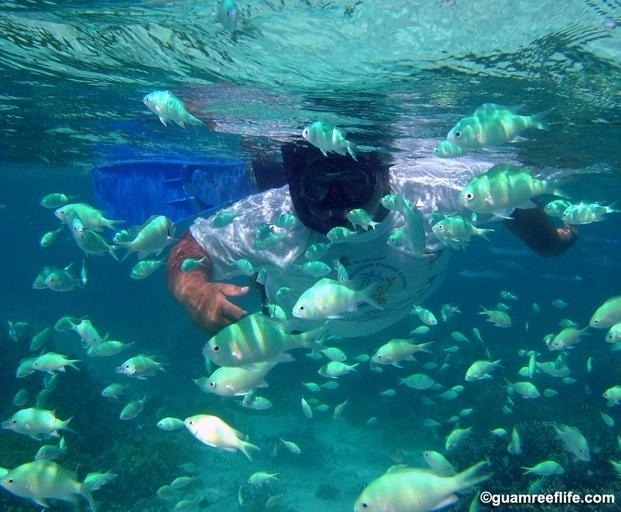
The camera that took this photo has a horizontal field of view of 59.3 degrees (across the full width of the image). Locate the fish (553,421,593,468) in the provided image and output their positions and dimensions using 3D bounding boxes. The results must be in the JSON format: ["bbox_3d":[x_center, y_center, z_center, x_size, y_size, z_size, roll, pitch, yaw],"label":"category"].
[{"bbox_3d":[5.841,4.163,12.014,0.397,0.829,0.805,-20,13,-4],"label":"fish"}]

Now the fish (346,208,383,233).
[{"bbox_3d":[0.950,-0.645,9.893,0.518,0.448,0.269,-12,14,5],"label":"fish"}]

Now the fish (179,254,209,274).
[{"bbox_3d":[-2.105,0.136,9.672,0.631,0.141,0.295,-9,36,-34],"label":"fish"}]

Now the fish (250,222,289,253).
[{"bbox_3d":[-0.783,-0.344,10.076,0.728,0.497,0.142,-18,12,-26],"label":"fish"}]

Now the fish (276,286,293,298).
[{"bbox_3d":[-0.505,0.693,10.427,0.239,0.220,0.087,-39,40,27],"label":"fish"}]

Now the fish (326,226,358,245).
[{"bbox_3d":[0.592,-0.382,9.968,0.519,0.348,0.277,-11,13,7],"label":"fish"}]

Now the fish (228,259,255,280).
[{"bbox_3d":[-1.271,0.222,10.251,0.426,0.431,0.480,-16,12,-7],"label":"fish"}]

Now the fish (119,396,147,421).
[{"bbox_3d":[-4.408,3.881,13.695,0.531,0.325,0.695,-11,10,0],"label":"fish"}]

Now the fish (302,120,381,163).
[{"bbox_3d":[0.388,-1.924,9.074,0.487,0.534,1.536,-21,33,-30],"label":"fish"}]

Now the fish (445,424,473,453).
[{"bbox_3d":[3.548,4.388,13.183,0.646,0.610,0.402,-13,13,3],"label":"fish"}]
